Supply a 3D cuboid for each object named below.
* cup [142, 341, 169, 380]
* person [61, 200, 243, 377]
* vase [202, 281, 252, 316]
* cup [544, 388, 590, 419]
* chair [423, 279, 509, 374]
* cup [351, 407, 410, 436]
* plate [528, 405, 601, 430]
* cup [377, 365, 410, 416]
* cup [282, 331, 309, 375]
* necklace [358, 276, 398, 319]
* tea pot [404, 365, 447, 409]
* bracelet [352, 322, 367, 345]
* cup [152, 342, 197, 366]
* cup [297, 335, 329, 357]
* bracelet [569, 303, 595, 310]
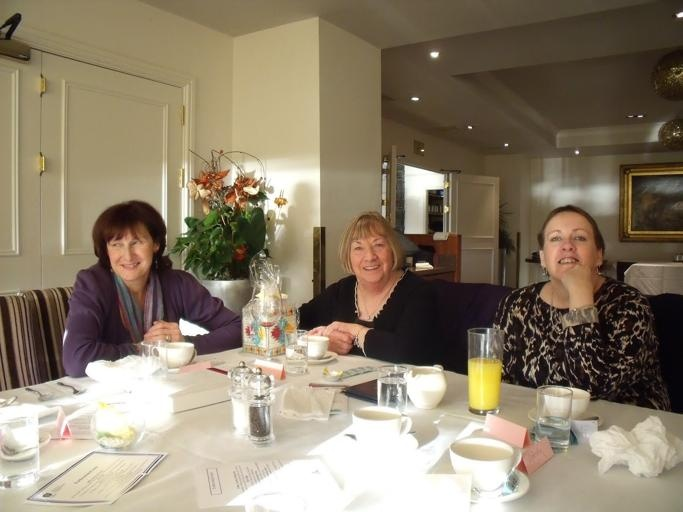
[{"bbox_3d":[-0.613,0.339,1.590,0.069,0.123,0.117,-2,-10,-2],"label":"cup"},{"bbox_3d":[-0.933,0.141,2.368,0.724,1.037,0.575,3,-19,-46],"label":"person"},{"bbox_3d":[-0.806,0.343,3.587,0.299,0.236,0.313,0,-5,8],"label":"vase"},{"bbox_3d":[0.631,0.386,1.353,0.091,0.064,0.101,-3,-7,6],"label":"cup"},{"bbox_3d":[0.606,0.341,2.536,0.374,0.489,0.407,3,-3,37],"label":"chair"},{"bbox_3d":[0.096,0.390,1.190,0.090,0.045,0.075,2,-7,-3],"label":"cup"},{"bbox_3d":[0.606,0.408,1.312,0.076,0.050,0.130,1,-9,-30],"label":"plate"},{"bbox_3d":[0.140,0.378,1.368,0.072,0.125,0.121,0,-3,-1],"label":"cup"},{"bbox_3d":[-0.150,0.360,1.787,0.109,0.187,0.110,0,-6,0],"label":"cup"},{"bbox_3d":[0.159,0.207,2.438,0.129,0.251,0.052,8,-9,31],"label":"necklace"},{"bbox_3d":[0.250,0.371,1.444,0.116,0.088,0.097,-6,7,-41],"label":"tea pot"},{"bbox_3d":[0.081,0.338,2.143,0.063,0.081,0.040,6,-7,-34],"label":"bracelet"},{"bbox_3d":[-0.580,0.349,1.721,0.084,0.063,0.100,-3,-13,2],"label":"cup"},{"bbox_3d":[-0.107,0.335,1.845,0.092,0.066,0.097,0,-11,0],"label":"cup"},{"bbox_3d":[0.810,0.169,1.645,0.074,0.022,0.028,0,3,21],"label":"bracelet"}]
